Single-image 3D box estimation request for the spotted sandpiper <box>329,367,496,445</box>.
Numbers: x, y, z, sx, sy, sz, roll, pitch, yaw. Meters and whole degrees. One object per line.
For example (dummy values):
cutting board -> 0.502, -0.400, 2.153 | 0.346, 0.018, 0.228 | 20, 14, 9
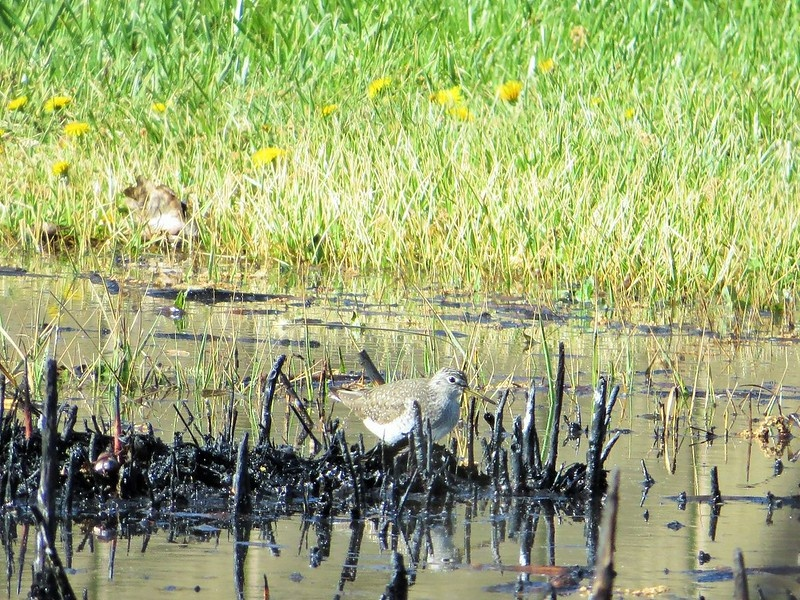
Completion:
spotted sandpiper -> 0.042, 0.482, 6.828 | 0.609, 0.444, 0.275 | 19, 7, 20
